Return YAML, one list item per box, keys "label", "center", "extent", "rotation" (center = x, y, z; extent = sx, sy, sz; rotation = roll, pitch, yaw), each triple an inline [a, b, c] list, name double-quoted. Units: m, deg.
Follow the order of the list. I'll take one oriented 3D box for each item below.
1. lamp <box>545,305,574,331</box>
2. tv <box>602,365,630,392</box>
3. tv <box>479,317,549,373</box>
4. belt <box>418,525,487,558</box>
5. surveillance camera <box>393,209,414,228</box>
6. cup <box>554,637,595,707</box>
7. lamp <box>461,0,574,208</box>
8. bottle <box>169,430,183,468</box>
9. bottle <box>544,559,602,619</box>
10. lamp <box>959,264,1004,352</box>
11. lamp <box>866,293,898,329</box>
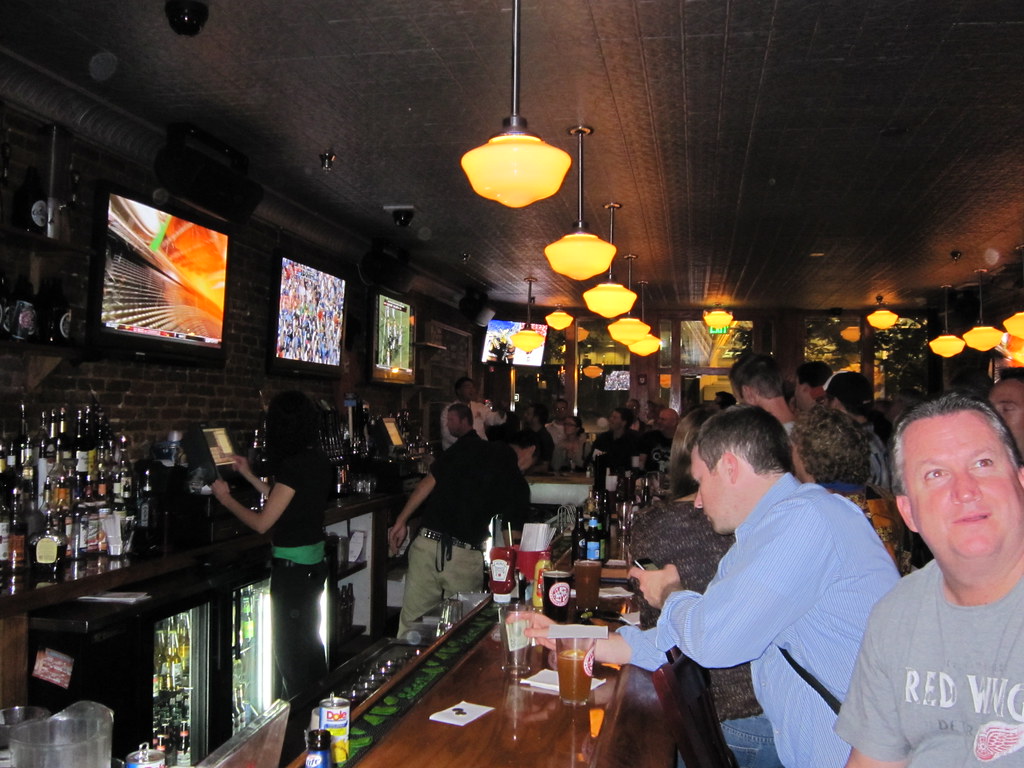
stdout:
- label: "lamp"
  center: [0.619, -0.788, 9.931]
  extent: [0.425, 0.366, 0.416]
  rotation: [1, 3, -18]
- label: "tv"
  center: [1.653, -0.109, 13.176]
  extent: [0.384, 0.358, 0.105]
  rotation: [-4, -13, 23]
- label: "tv"
  center: [-0.027, -0.606, 11.676]
  extent: [0.835, 0.561, 0.112]
  rotation: [4, 9, -18]
- label: "belt"
  center: [-0.376, 0.979, 5.205]
  extent: [0.255, 0.101, 0.255]
  rotation: [9, -9, 16]
- label: "surveillance camera"
  center: [-0.873, -1.359, 6.628]
  extent: [0.133, 0.097, 0.133]
  rotation: [-1, -10, 8]
- label: "cup"
  center: [0.187, 0.845, 2.477]
  extent: [0.107, 0.196, 0.134]
  rotation: [-2, -7, 4]
- label: "lamp"
  center: [-0.010, -1.235, 3.753]
  extent: [0.467, 0.865, 0.973]
  rotation: [-1, -7, -9]
- label: "bottle"
  center: [-1.993, 0.365, 4.922]
  extent: [0.081, 0.212, 0.424]
  rotation: [1, -8, -22]
- label: "bottle"
  center: [0.228, 0.796, 3.171]
  extent: [0.253, 0.239, 0.166]
  rotation: [0, -2, 14]
- label: "lamp"
  center: [5.779, -0.780, 10.143]
  extent: [0.450, 0.891, 2.634]
  rotation: [-6, -8, 30]
- label: "lamp"
  center: [4.859, -1.012, 10.903]
  extent: [0.439, 0.525, 0.436]
  rotation: [-1, -7, -1]
